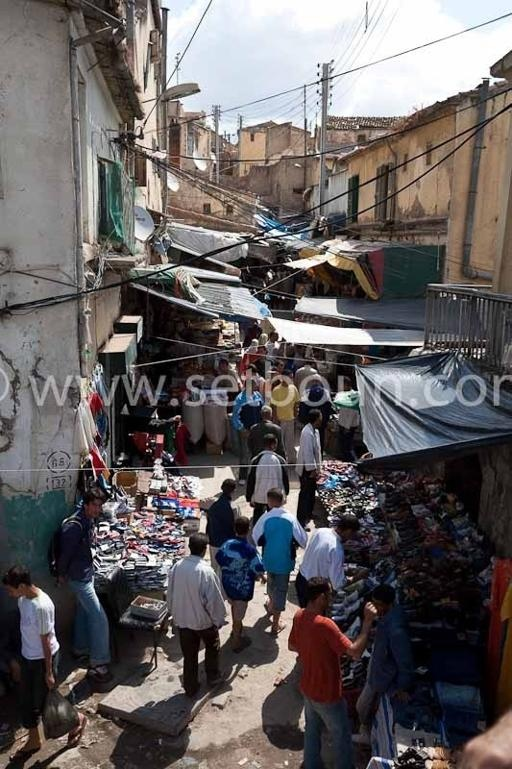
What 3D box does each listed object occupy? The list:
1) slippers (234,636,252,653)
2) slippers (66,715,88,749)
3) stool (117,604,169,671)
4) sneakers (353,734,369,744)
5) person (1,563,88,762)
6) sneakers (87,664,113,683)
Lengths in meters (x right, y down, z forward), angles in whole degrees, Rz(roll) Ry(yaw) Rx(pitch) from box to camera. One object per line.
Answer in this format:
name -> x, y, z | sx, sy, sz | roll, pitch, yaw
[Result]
slippers -> -0.112, 2.229, 5.767 | 0.098, 0.090, 0.219 | 7, 8, 25
slippers -> -1.233, 2.410, 4.631 | 0.078, 0.240, 0.099 | 7, -19, 45
stool -> -0.937, 2.106, 5.648 | 0.368, 0.410, 0.457 | 3, 8, 12
sneakers -> 0.700, 2.378, 4.510 | 0.139, 0.055, 0.040 | 2, 29, 6
person -> -1.477, 1.821, 4.427 | 0.316, 1.318, 0.310 | 2, 8, -9
sneakers -> -1.214, 2.268, 5.233 | 0.191, 0.071, 0.099 | 7, 21, -33
